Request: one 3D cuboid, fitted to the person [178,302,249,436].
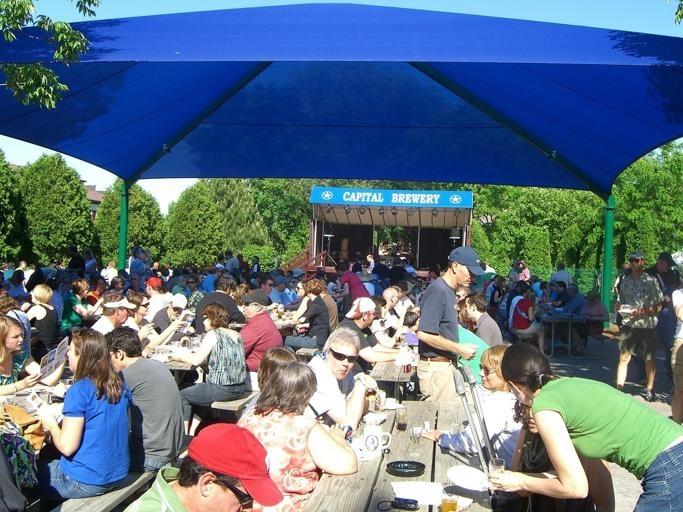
[{"bbox_3d":[-1.522,1.331,7.074,0.867,1.632,0.631,4,2,24],"label":"person"}]

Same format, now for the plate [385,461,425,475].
[{"bbox_3d":[0.450,1.492,4.330,0.273,0.068,0.167,1,-2,4],"label":"plate"}]

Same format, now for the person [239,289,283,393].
[{"bbox_3d":[-1.178,1.059,8.095,0.675,1.412,0.650,9,23,7],"label":"person"}]

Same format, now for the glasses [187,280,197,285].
[{"bbox_3d":[-3.027,0.537,12.542,0.094,0.083,0.132,-1,-8,4],"label":"glasses"}]

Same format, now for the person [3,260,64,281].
[{"bbox_3d":[-8.628,0.373,17.106,1.142,0.547,0.405,-2,16,-9],"label":"person"}]

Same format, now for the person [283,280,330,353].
[{"bbox_3d":[-0.649,1.144,9.998,0.789,1.580,0.630,0,7,-8],"label":"person"}]

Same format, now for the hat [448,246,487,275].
[{"bbox_3d":[1.184,0.041,5.760,0.335,0.279,0.321,1,-2,5],"label":"hat"}]

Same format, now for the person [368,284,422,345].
[{"bbox_3d":[0.844,0.938,9.657,0.582,1.063,0.399,-10,31,-22],"label":"person"}]

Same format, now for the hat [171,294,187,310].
[{"bbox_3d":[-2.679,0.751,10.173,0.283,0.238,0.301,0,6,-11],"label":"hat"}]

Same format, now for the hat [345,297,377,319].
[{"bbox_3d":[0.219,0.591,7.173,0.303,0.178,0.210,-9,3,-4],"label":"hat"}]

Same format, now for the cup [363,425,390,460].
[{"bbox_3d":[0.266,1.414,4.697,0.223,0.234,0.160,4,-6,-9],"label":"cup"}]

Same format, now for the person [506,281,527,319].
[{"bbox_3d":[3.614,0.925,12.737,0.247,0.236,0.773,-4,-37,-8],"label":"person"}]

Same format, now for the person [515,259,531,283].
[{"bbox_3d":[5.850,0.497,19.888,0.405,1.081,0.334,9,28,30],"label":"person"}]

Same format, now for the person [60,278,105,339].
[{"bbox_3d":[-3.893,0.913,9.391,0.654,1.092,0.521,6,1,-9],"label":"person"}]

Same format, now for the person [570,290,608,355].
[{"bbox_3d":[5.110,1.348,12.882,0.700,1.469,0.753,11,-3,-10],"label":"person"}]

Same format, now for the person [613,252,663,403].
[{"bbox_3d":[4.182,1.012,8.969,0.768,2.040,0.655,1,0,-18],"label":"person"}]

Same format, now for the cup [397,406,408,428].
[{"bbox_3d":[0.501,1.379,5.188,0.103,0.186,0.111,0,-7,0],"label":"cup"}]

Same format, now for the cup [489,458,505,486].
[{"bbox_3d":[0.964,1.374,3.902,0.102,0.183,0.109,0,-3,0],"label":"cup"}]

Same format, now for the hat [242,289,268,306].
[{"bbox_3d":[-1.483,0.721,10.802,0.431,0.246,0.317,23,-12,-23],"label":"hat"}]

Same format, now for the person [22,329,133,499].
[{"bbox_3d":[-1.953,1.219,4.731,0.644,1.276,0.347,2,-2,-26],"label":"person"}]

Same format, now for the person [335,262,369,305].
[{"bbox_3d":[0.273,0.444,13.027,0.425,0.411,1.098,13,-14,43],"label":"person"}]

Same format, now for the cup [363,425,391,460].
[{"bbox_3d":[0.256,1.439,4.706,0.247,0.259,0.175,6,-15,-13],"label":"cup"}]

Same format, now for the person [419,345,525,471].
[{"bbox_3d":[1.123,1.142,4.832,0.628,0.900,0.718,5,17,-44],"label":"person"}]
